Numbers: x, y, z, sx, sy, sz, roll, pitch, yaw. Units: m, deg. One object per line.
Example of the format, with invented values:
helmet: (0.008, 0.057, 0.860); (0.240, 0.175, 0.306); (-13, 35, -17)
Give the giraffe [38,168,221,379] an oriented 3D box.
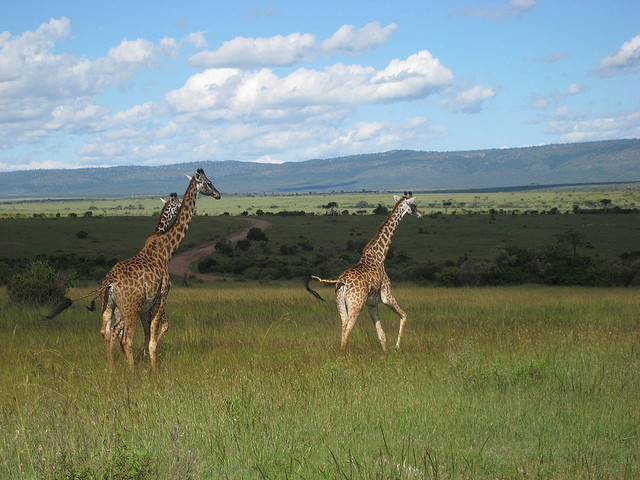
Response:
giraffe: (-5.029, 0.720, 18.169); (3.954, 5.040, 3.663); (-1, 3, 31)
